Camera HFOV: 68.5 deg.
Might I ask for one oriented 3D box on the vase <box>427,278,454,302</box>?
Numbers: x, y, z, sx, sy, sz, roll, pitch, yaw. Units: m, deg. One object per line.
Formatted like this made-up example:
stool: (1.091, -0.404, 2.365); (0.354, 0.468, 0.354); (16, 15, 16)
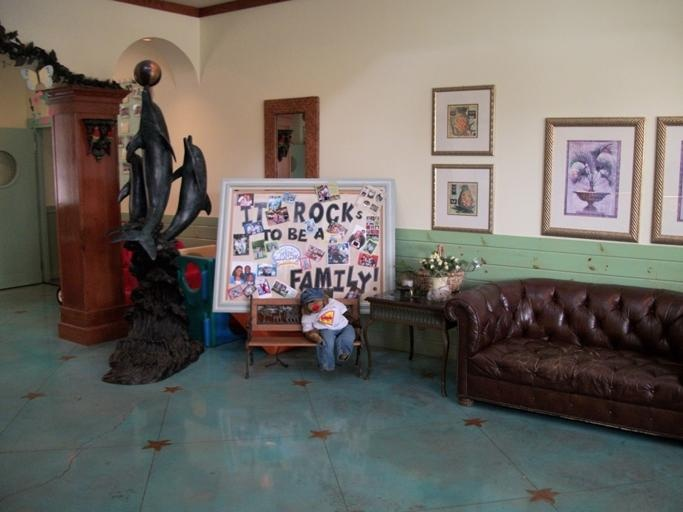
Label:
vase: (0.981, 0.333, 4.999); (0.248, 0.251, 0.252); (3, -3, -34)

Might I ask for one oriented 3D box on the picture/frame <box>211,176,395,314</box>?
picture/frame: (-0.400, -0.216, 5.747); (2.088, 1.464, 0.364); (2, 9, -11)

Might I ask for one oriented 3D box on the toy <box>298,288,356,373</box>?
toy: (-0.146, 0.744, 5.103); (0.589, 0.734, 0.535); (1, 12, 6)

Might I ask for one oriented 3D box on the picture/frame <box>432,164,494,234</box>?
picture/frame: (1.338, -0.635, 5.543); (0.821, 0.735, 0.031); (-2, 5, -22)

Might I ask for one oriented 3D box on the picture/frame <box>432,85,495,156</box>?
picture/frame: (1.317, -1.457, 5.448); (0.688, 0.723, 0.075); (7, 14, 29)

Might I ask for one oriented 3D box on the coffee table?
coffee table: (0.826, 0.700, 5.287); (0.927, 0.946, 1.240); (5, 7, 35)

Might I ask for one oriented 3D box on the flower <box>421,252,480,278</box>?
flower: (1.113, 0.094, 5.182); (0.424, 0.136, 0.356); (-1, 3, -25)

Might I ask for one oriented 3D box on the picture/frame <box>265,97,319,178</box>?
picture/frame: (-0.640, -1.533, 6.528); (0.885, 0.995, 0.118); (7, 14, 30)

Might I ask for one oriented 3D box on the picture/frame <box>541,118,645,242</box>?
picture/frame: (2.493, -0.762, 4.882); (1.316, 1.551, 0.068); (3, 6, 28)

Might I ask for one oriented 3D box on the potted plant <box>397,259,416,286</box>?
potted plant: (0.725, 0.166, 5.790); (0.320, 0.278, 0.199); (0, 3, 8)

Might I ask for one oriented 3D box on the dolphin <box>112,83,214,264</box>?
dolphin: (-1.854, -0.853, 5.169); (0.885, 1.703, 0.585); (-2, 13, -9)
